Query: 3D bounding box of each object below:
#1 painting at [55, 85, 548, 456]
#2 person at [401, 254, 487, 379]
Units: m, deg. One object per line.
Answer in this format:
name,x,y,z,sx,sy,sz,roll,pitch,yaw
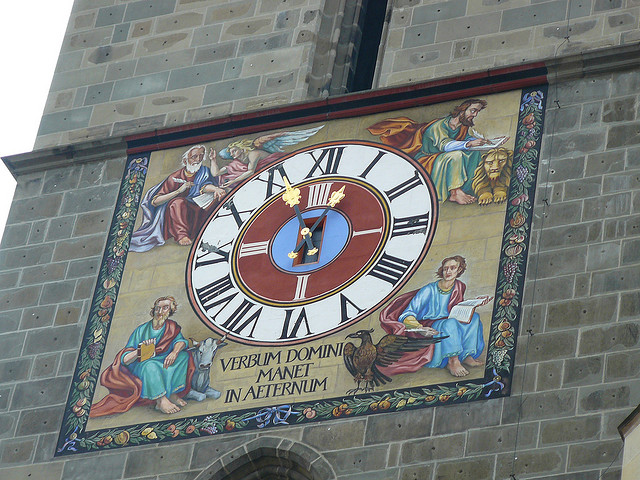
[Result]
painting,-0.105,0.287,30.047,5.771,5.067,0.628,-11,-46,11
person,1.521,0.998,28.905,1.079,1.428,1.001,24,-25,-28
